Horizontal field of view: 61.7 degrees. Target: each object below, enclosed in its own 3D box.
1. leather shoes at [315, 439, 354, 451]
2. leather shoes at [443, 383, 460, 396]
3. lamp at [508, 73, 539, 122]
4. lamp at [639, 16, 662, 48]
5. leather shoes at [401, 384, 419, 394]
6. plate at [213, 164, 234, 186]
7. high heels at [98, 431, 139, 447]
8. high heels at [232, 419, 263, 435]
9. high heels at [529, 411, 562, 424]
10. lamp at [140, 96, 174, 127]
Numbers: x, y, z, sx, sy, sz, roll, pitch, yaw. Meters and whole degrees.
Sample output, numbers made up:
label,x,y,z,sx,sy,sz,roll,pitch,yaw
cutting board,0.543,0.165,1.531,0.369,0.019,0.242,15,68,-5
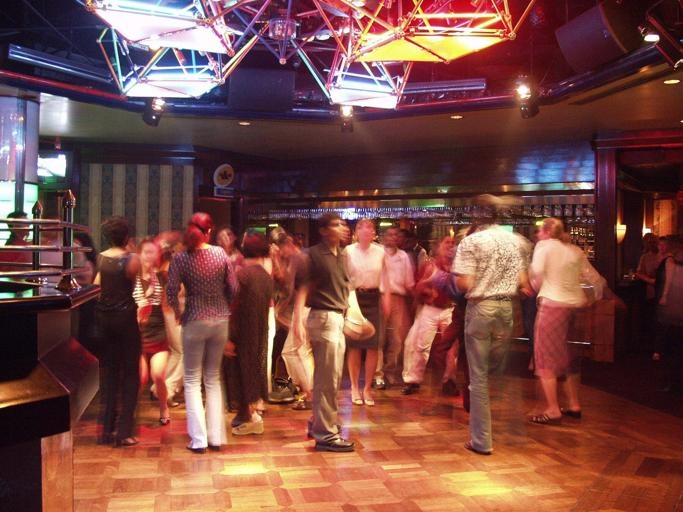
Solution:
label,x,y,z,sx,sy,sz,roll,pitch,yaw
leather shoes,-0.057,1.574,4.831,0.318,0.145,0.119,0,-3,2
leather shoes,1.200,1.483,6.318,0.236,0.177,0.129,2,-8,-5
lamp,2.096,-1.924,6.708,0.227,0.382,0.208,-2,-10,9
lamp,2.723,-1.987,5.040,0.158,0.214,0.223,2,5,20
leather shoes,0.768,1.495,6.391,0.074,0.096,0.231,-10,-15,43
plate,-2.146,-1.482,10.484,0.374,0.384,0.139,16,13,13
high heels,-1.869,1.547,4.878,0.374,0.153,0.128,0,-6,-3
high heels,-0.841,1.557,5.189,0.273,0.117,0.109,2,-3,-5
high heels,1.959,1.553,5.495,0.224,0.062,0.116,2,-3,4
lamp,-2.404,-1.908,7.468,0.230,0.372,0.225,20,-39,8
